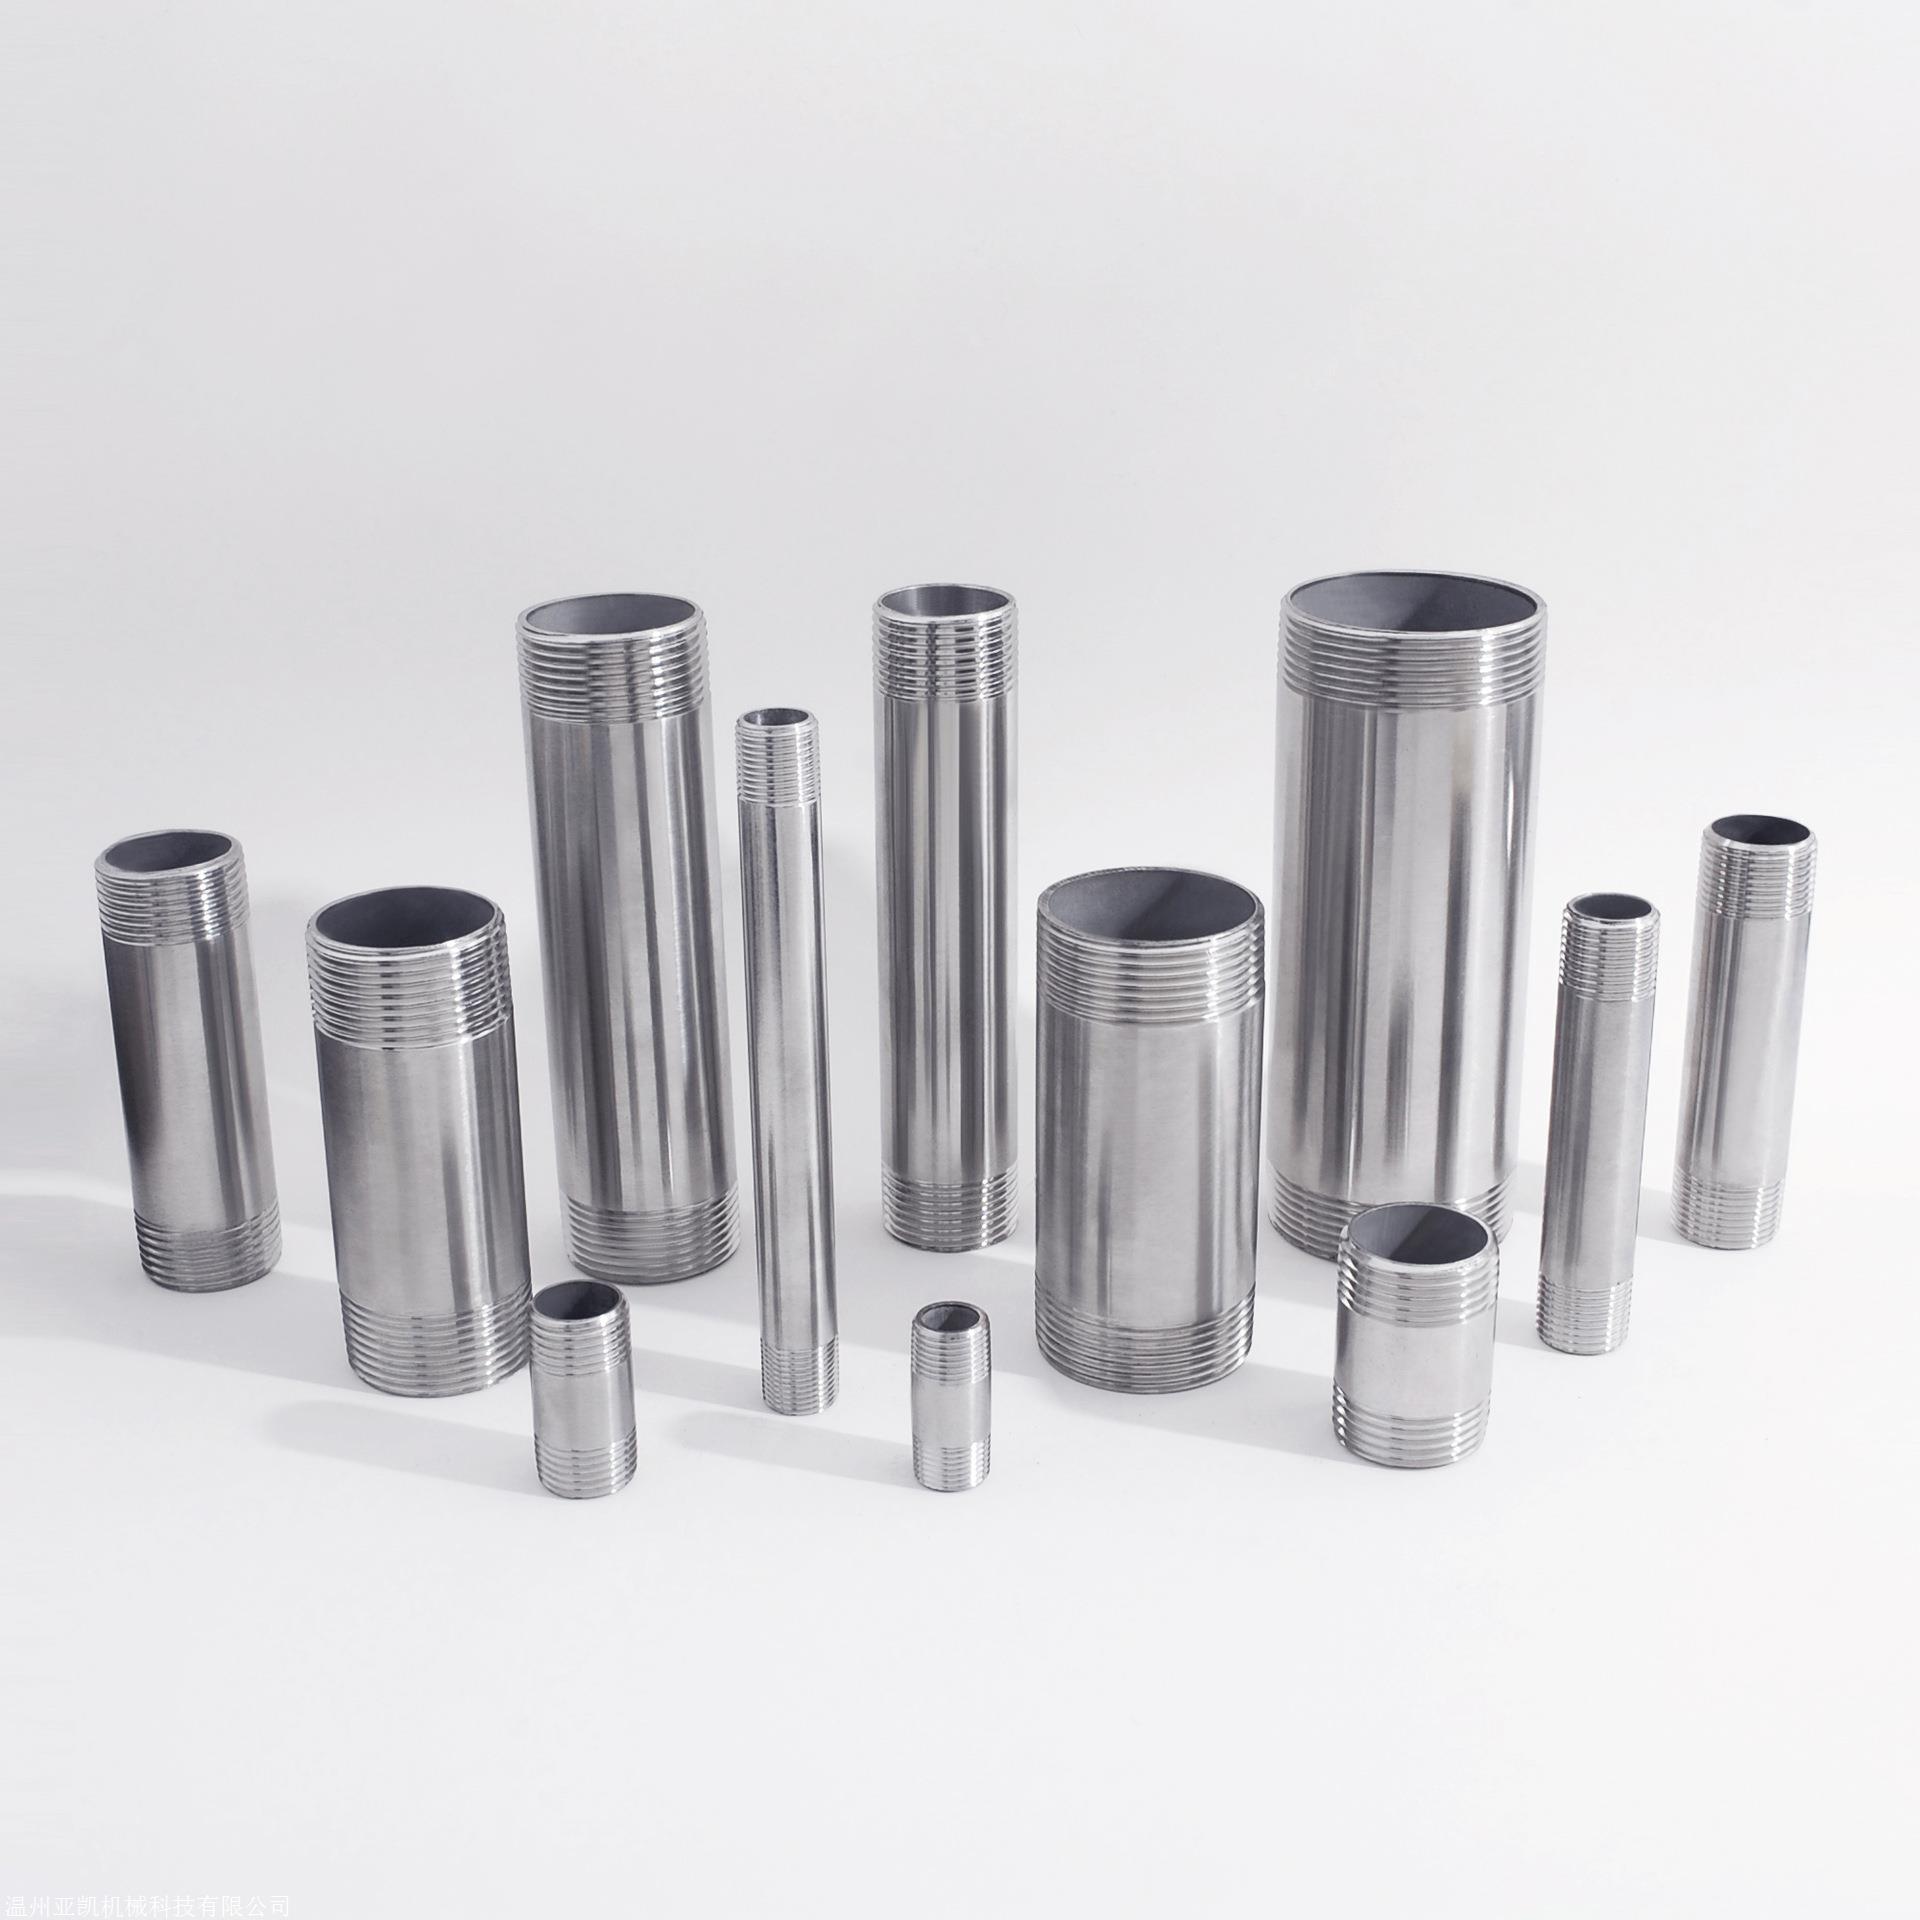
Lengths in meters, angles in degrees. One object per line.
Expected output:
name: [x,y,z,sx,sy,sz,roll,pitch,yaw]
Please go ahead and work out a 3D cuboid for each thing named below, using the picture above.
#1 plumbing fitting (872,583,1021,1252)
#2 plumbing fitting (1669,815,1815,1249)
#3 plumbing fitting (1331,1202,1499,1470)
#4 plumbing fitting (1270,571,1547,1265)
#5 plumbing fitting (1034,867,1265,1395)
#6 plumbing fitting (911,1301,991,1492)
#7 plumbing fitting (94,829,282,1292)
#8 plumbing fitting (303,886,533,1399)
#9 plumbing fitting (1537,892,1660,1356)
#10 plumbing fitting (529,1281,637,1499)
plumbing fitting: [-0.018,-0.023,2.984,0.202,0.873,0.176,2,14,0]
plumbing fitting: [1.027,0.105,2.998,0.150,0.582,0.152,6,15,17]
plumbing fitting: [0.514,0.436,2.582,0.175,0.293,0.202,4,13,11]
plumbing fitting: [0.581,-0.036,2.944,0.346,0.915,0.466,-3,14,-19]
plumbing fitting: [0.222,0.213,2.713,0.281,0.619,0.309,-1,14,-10]
plumbing fitting: [-0.010,0.489,2.554,0.092,0.216,0.147,2,13,0]
plumbing fitting: [-1.009,0.138,2.975,0.202,0.598,0.199,-9,18,-37]
plumbing fitting: [-0.631,0.245,2.676,0.236,0.582,0.169,-1,14,-12]
plumbing fitting: [0.770,0.218,2.759,0.114,0.553,0.072,5,15,12]
plumbing fitting: [-0.414,0.492,2.530,0.126,0.228,0.092,-3,14,-17]
